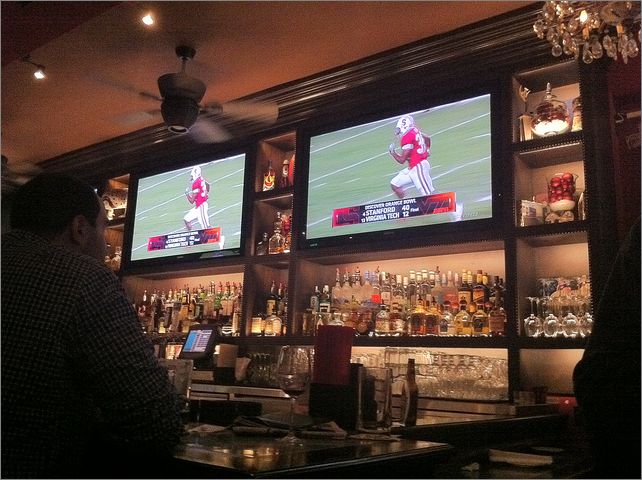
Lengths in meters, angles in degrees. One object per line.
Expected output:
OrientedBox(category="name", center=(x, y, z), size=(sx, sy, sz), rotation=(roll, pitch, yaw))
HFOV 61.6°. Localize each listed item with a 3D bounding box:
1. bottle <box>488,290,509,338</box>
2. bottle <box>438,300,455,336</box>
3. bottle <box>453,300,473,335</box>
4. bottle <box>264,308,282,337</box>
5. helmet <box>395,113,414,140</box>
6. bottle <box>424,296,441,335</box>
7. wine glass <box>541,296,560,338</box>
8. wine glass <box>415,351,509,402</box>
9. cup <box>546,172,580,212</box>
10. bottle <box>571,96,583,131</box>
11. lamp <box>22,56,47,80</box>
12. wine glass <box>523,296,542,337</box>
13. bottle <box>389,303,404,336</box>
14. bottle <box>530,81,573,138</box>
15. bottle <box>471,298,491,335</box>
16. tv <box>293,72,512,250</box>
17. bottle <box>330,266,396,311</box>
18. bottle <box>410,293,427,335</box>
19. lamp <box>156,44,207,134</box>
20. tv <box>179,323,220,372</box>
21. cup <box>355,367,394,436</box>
OrientedBox(category="bottle", center=(1.150, 0.468, 3.509), size=(0.108, 0.310, 0.167), rotation=(-1, -14, 16))
OrientedBox(category="bottle", center=(0.873, 0.536, 3.746), size=(0.097, 0.242, 0.214), rotation=(0, -13, 13))
OrientedBox(category="bottle", center=(0.959, 0.517, 3.633), size=(0.111, 0.237, 0.103), rotation=(3, -14, 1))
OrientedBox(category="bottle", center=(-0.404, 0.724, 4.551), size=(0.164, 0.242, 0.164), rotation=(-1, -5, 0))
OrientedBox(category="helmet", center=(0.635, -0.871, 4.093), size=(0.186, 0.162, 0.143), rotation=(2, 7, 39))
OrientedBox(category="bottle", center=(0.787, 0.532, 3.814), size=(0.103, 0.258, 0.112), rotation=(-2, 13, 1))
OrientedBox(category="wine glass", center=(1.433, 0.493, 3.355), size=(0.106, 0.230, 0.098), rotation=(0, 3, -10))
OrientedBox(category="wine glass", center=(0.899, 0.873, 3.447), size=(0.559, 0.270, 0.177), rotation=(0, -14, 11))
OrientedBox(category="cup", center=(1.583, -0.310, 3.489), size=(0.203, 0.276, 0.134), rotation=(1, -14, 5))
OrientedBox(category="bottle", center=(1.635, -0.805, 3.456), size=(0.059, 0.267, 0.219), rotation=(-3, -14, 23))
OrientedBox(category="lamp", center=(-2.383, -1.424, 4.463), size=(0.257, 0.134, 0.100), rotation=(2, 7, 42))
OrientedBox(category="wine glass", center=(1.333, 0.484, 3.397), size=(0.104, 0.260, 0.178), rotation=(-6, -16, 31))
OrientedBox(category="bottle", center=(0.552, 0.576, 3.947), size=(0.135, 0.216, 0.124), rotation=(2, -17, 1))
OrientedBox(category="bottle", center=(1.542, -0.894, 3.640), size=(0.320, 0.322, 0.313), rotation=(-7, 7, -42))
OrientedBox(category="bottle", center=(1.064, 0.513, 3.604), size=(0.100, 0.237, 0.112), rotation=(-1, -14, 15))
OrientedBox(category="tv", center=(0.651, -0.578, 3.991), size=(1.585, 0.835, 0.072), rotation=(-7, -12, 41))
OrientedBox(category="bottle", center=(0.352, 0.394, 4.298), size=(0.392, 0.316, 0.127), rotation=(-3, -8, 34))
OrientedBox(category="bottle", center=(0.712, 0.530, 3.860), size=(0.129, 0.272, 0.108), rotation=(3, 2, 28))
OrientedBox(category="lamp", center=(-1.075, -1.198, 4.199), size=(0.425, 0.566, 0.388), rotation=(5, 1, -16))
OrientedBox(category="tv", center=(-0.968, 0.882, 4.397), size=(0.382, 0.371, 0.206), rotation=(-7, -26, 28))
OrientedBox(category="cup", center=(0.181, 0.535, 1.824), size=(0.116, 0.201, 0.088), rotation=(2, -14, 5))
